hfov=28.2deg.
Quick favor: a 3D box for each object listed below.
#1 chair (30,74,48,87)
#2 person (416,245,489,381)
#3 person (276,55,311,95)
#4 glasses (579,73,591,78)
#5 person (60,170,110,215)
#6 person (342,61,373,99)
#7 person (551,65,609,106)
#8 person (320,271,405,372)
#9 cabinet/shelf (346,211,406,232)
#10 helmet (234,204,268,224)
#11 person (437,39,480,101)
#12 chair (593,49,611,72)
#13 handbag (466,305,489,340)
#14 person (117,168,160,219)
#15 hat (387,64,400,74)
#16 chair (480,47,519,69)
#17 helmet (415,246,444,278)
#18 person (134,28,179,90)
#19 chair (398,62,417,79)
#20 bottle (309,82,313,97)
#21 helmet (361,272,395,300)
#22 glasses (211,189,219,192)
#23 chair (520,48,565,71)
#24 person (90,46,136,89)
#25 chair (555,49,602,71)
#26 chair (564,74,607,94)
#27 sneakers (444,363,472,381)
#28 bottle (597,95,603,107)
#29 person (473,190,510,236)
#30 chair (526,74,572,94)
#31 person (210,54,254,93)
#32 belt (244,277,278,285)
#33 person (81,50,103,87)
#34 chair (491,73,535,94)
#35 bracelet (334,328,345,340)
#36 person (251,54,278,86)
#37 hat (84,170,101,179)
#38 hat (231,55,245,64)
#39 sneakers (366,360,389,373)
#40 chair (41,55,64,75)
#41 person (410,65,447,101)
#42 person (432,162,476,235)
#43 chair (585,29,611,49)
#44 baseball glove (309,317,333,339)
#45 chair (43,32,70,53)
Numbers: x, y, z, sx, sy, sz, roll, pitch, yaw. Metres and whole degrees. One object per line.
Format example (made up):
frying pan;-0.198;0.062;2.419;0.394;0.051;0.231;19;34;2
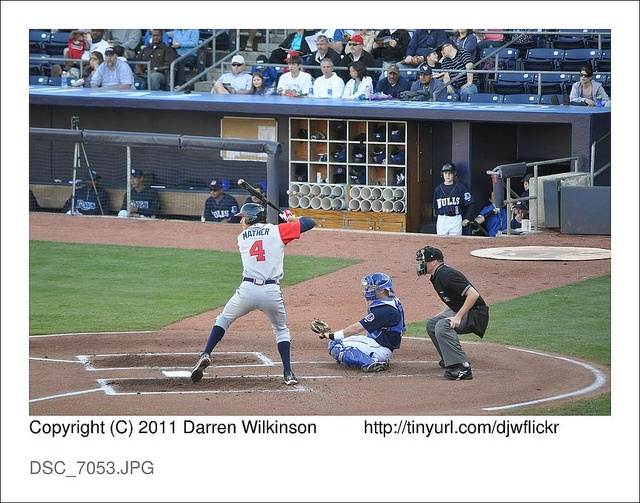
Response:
chair;-6.539;-4.022;30.195;0.510;0.283;0.161;4;-7;34
person;1.756;0.801;17.133;0.951;1.763;0.464;0;7;5
person;-0.528;-3.674;26.806;1.105;0.948;0.630;1;7;12
glasses;5.008;-3.336;24.200;0.207;0.057;0.204;6;-4;27
person;-4.833;-1.226;27.079;0.839;0.952;0.384;6;-1;1
person;0.778;-3.489;26.109;0.664;0.732;0.550;1;7;10
person;5.106;-3.152;24.401;0.611;0.772;0.854;-5;8;-34
person;0.511;0.878;17.929;1.495;1.385;1.185;6;7;14
cabinet/shelf;1.101;-0.634;25.571;1.301;0.375;0.293;4;8;35
helmet;-0.917;-0.524;17.064;0.410;0.205;0.240;3;0;7
person;2.710;-3.716;26.171;0.951;1.165;0.800;-9;8;32
chair;5.804;-3.915;26.231;0.485;0.558;0.547;1;14;14
handbag;2.191;0.920;17.363;0.397;0.543;0.445;2;7;8
person;-3.747;-1.204;26.375;0.648;0.983;0.940;4;8;33
hat;1.474;-3.678;25.747;0.217;0.190;0.329;0;7;0
chair;3.794;-4.073;26.917;0.666;0.723;0.659;1;6;15
helmet;1.418;0.114;17.193;0.300;0.408;0.479;-3;7;-23
person;-3.661;-4.265;28.506;0.821;1.354;0.856;-7;10;-41
chair;1.852;-3.811;27.135;0.424;0.383;0.535;0;49;6
bottle;-0.182;-3.394;26.636;0.117;0.311;0.238;0;7;0
helmet;0.758;0.457;17.314;0.454;0.317;0.332;5;4;8
glasses;-2.093;-1.237;25.494;0.168;0.039;0.071;5;9;41
chair;4.630;-4.001;26.600;0.754;0.601;0.532;3;11;20
person;-4.538;-3.966;27.888;0.931;0.850;1.063;-1;7;-3
chair;5.336;-3.967;26.315;0.643;0.668;0.635;0;1;19
chair;5.362;-3.254;25.587;0.649;0.352;0.448;-2;3;21
sneakers;1.848;1.590;17.080;0.434;0.253;0.163;2;8;-3
bottle;5.300;-2.866;24.251;0.140;0.212;0.131;0;7;0
person;3.235;-0.615;24.241;0.580;0.567;1.170;-1;7;-10
chair;4.584;-3.389;25.762;0.678;0.573;0.557;2;6;21
person;-1.878;-3.798;27.470;0.845;0.812;0.658;-1;7;-5
belt;-0.776;0.367;16.737;0.433;0.107;0.126;0;7;-1
person;-5.077;-4.134;28.673;0.554;0.815;0.374;-2;-8;25
chair;3.933;-3.431;26.018;0.761;0.442;0.506;3;20;18
bracelet;0.265;1.108;17.453;0.141;0.105;0.131;-8;0;6
person;-1.205;-3.774;27.434;0.583;0.762;0.517;0;20;18
hat;-4.778;-1.623;26.998;0.221;0.117;0.282;0;-2;-5
hat;-1.748;-4.103;27.295;0.240;0.142;0.317;2;-4;2
sneakers;0.784;1.543;17.456;0.367;0.107;0.148;1;12;-36
chair;-6.266;-4.363;30.007;0.622;0.682;0.561;0;9;-11
person;2.181;-3.397;25.708;0.741;0.714;0.601;0;7;3
person;2.509;-0.998;24.016;0.747;1.312;0.526;0;7;5
chair;5.889;-4.486;27.058;0.590;0.615;0.598;2;14;9
baseball glove;0.020;1.028;17.576;0.234;0.292;0.146;-37;-3;-6
chair;-6.441;-5.129;31.416;0.600;0.577;0.830;2;-8;-8
